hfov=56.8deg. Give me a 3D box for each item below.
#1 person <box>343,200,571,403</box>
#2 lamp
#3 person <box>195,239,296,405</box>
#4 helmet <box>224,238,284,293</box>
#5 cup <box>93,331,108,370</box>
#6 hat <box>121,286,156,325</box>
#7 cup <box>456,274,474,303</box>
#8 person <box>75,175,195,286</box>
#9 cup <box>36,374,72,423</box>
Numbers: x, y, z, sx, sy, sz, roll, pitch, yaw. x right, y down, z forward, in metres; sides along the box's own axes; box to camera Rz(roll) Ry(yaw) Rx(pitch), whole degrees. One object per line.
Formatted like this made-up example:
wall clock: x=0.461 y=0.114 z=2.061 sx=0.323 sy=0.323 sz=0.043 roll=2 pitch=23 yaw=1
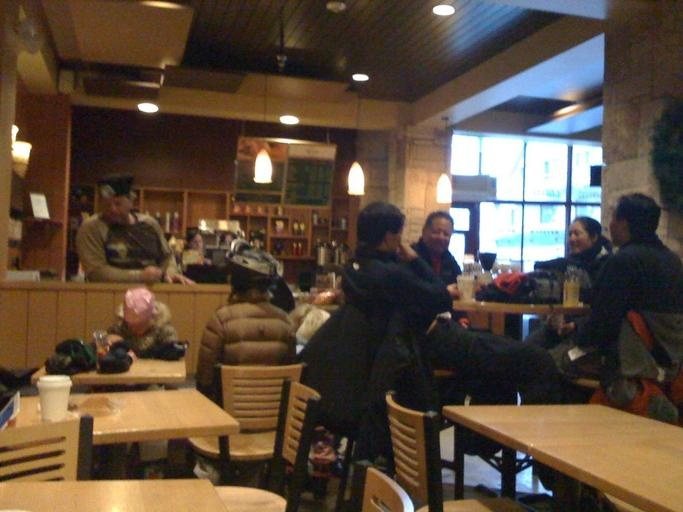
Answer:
person: x=0.860 y=0.475 z=4.308 sx=1.450 sy=1.788 sz=0.736 roll=-7 pitch=8 yaw=9
lamp: x=0.287 y=-1.433 z=8.509 sx=2.619 sy=1.540 sz=1.217 roll=4 pitch=2 yaw=-14
person: x=-0.631 y=0.454 z=4.197 sx=0.694 sy=1.005 sz=0.621 roll=2 pitch=2 yaw=-36
helmet: x=-0.628 y=0.015 z=4.302 sx=0.379 sy=0.164 sz=0.286 roll=18 pitch=35 yaw=13
cup: x=-1.514 y=0.597 z=3.940 sx=0.063 sy=0.192 sz=0.059 roll=2 pitch=49 yaw=-2
hat: x=-1.376 y=0.319 z=4.241 sx=0.209 sy=0.246 sz=0.270 roll=-1 pitch=22 yaw=-16
cup: x=0.894 y=0.234 z=4.566 sx=0.157 sy=0.186 sz=0.161 roll=-1 pitch=-2 yaw=0
person: x=-1.752 y=-0.096 z=5.378 sx=0.921 sy=1.035 sz=0.596 roll=-3 pitch=11 yaw=-19
cup: x=-1.273 y=0.616 z=2.823 sx=0.181 sy=0.197 sz=0.182 roll=-1 pitch=2 yaw=0
